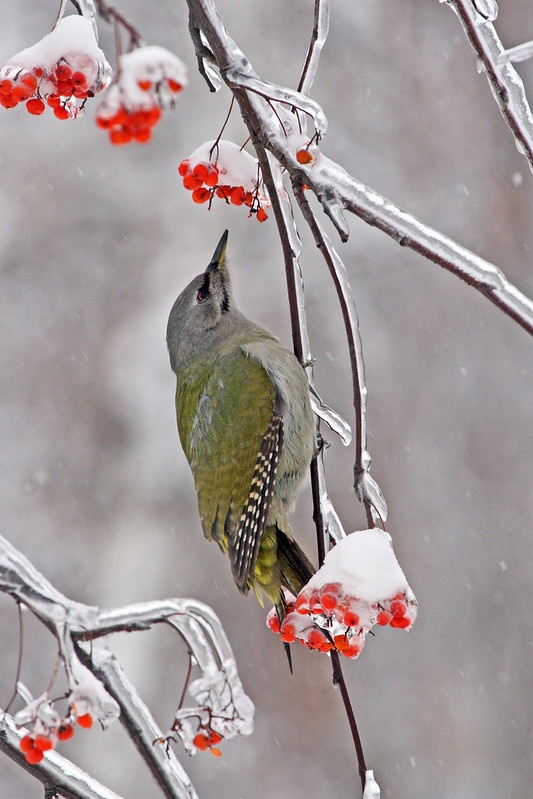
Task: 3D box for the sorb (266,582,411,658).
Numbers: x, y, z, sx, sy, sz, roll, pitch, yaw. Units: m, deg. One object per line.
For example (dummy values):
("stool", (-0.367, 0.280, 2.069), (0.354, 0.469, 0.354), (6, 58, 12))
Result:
("sorb", (0.311, 0.785, 3.933), (0.362, 0.380, 0.154), (-6, 71, 8))
